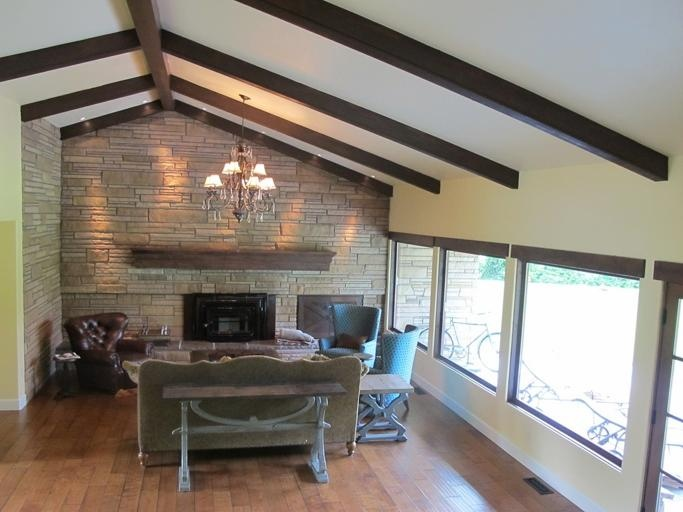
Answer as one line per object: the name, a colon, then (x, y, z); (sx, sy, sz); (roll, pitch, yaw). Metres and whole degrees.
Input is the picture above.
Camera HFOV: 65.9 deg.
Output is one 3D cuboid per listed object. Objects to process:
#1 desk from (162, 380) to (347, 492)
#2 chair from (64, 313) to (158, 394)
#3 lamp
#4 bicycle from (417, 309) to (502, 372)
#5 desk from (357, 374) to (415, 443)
desk: (-0.922, 1.848, 5.690); (1.842, 1.040, 0.654); (0, 10, -9)
chair: (-3.562, 1.475, 8.215); (1.180, 1.012, 1.214); (2, 3, -3)
lamp: (-1.267, -1.228, 6.648); (0.902, 1.459, 0.815); (1, 6, -33)
bicycle: (1.827, 1.194, 7.501); (1.220, 0.680, 0.542); (-5, 5, 34)
desk: (0.544, 1.888, 6.757); (0.654, 0.799, 0.884); (2, 10, 4)
